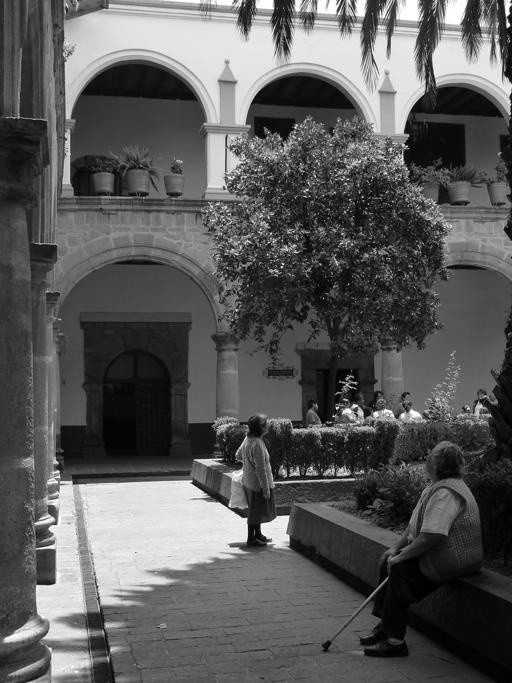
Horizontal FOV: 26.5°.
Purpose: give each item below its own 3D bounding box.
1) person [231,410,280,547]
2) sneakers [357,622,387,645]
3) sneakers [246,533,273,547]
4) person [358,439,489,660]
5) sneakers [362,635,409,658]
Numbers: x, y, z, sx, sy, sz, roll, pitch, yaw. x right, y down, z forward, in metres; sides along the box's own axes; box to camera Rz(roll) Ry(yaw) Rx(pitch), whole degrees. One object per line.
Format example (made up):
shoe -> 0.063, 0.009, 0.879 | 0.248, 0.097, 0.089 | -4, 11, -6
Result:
person -> 0.003, 1.241, 9.584 | 0.271, 1.145, 0.378 | -3, 0, 2
sneakers -> 0.669, 1.684, 6.212 | 0.214, 0.176, 0.080 | -1, -7, 5
sneakers -> 0.020, 1.765, 9.572 | 0.203, 0.162, 0.083 | -5, 4, -27
person -> 0.912, 1.176, 6.103 | 0.687, 1.198, 0.356 | -3, 0, 13
sneakers -> 0.726, 1.721, 6.133 | 0.264, 0.136, 0.106 | 3, -7, 7
